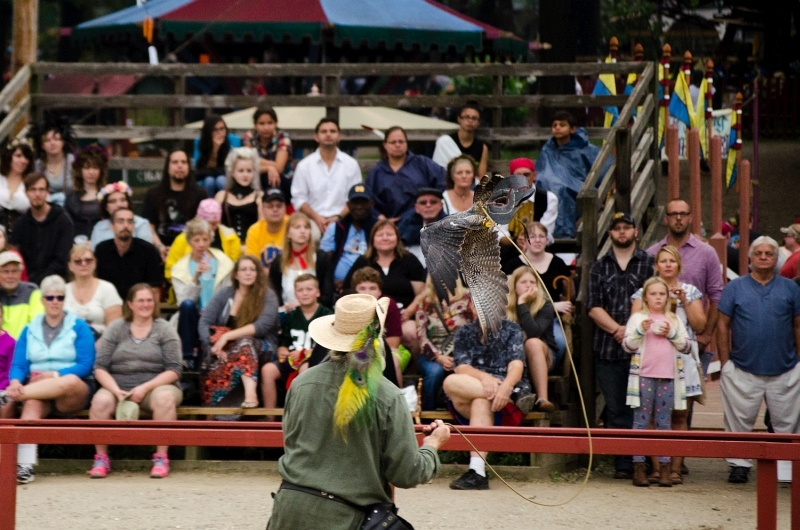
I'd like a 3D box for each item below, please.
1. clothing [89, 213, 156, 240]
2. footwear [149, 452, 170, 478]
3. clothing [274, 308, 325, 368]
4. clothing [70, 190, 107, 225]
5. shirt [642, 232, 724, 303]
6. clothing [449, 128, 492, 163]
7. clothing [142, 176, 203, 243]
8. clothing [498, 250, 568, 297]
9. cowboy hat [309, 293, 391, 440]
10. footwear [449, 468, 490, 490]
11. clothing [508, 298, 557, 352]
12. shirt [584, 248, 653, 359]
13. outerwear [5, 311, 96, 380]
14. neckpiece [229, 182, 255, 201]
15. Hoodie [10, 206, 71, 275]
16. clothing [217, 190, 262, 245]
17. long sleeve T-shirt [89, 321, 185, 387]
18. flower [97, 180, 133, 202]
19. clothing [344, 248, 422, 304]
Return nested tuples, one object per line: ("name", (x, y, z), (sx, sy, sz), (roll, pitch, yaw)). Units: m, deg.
("clothing", (-3.641, -0.650, 26.976), (0.680, 0.517, 0.346), (-2, -21, -9))
("footwear", (-2.976, 2.560, 25.728), (0.276, 0.308, 0.731), (1, -3, -6))
("clothing", (-1.110, 0.892, 26.023), (0.876, 0.785, 0.487), (-3, 2, 26))
("clothing", (-4.126, -0.761, 27.423), (0.598, 0.538, 0.325), (-1, -9, -9))
("shirt", (3.554, 0.057, 26.065), (0.796, 0.744, 0.262), (14, 1, 19))
("clothing", (0.989, -1.650, 28.472), (0.681, 0.632, 0.353), (-1, 2, -14))
("clothing", (-2.968, -0.751, 27.480), (0.874, 0.828, 0.454), (-1, 8, -2))
("clothing", (1.701, 0.149, 26.675), (0.975, 0.883, 0.530), (-2, -3, -9))
("cowboy hat", (-0.464, 1.043, 22.434), (0.856, 1.462, 0.907), (1, 33, 7))
("footwear", (0.895, 2.719, 25.452), (0.525, 0.246, 0.212), (3, -3, -10))
("clothing", (1.746, 0.751, 25.931), (0.609, 0.641, 0.499), (-4, -9, -15))
("shirt", (2.845, 0.470, 26.077), (0.937, 1.444, 0.421), (-1, -7, 5))
("outerwear", (-4.321, 1.044, 25.871), (1.050, 1.028, 0.686), (-3, -11, 4))
("neckpiece", (-2.131, -1.023, 27.594), (0.226, 0.170, 0.291), (-4, -3, -20))
("Hoodie", (-4.669, -0.237, 26.832), (0.769, 1.076, 0.720), (2, 21, -16))
("clothing", (-2.112, -0.702, 27.586), (0.541, 0.690, 0.407), (0, 10, 2))
("long sleeve T-shirt", (-3.196, 1.131, 26.000), (1.131, 1.024, 0.627), (1, 1, 20))
("flower", (-3.752, -1.011, 27.032), (0.305, 0.136, 0.277), (-23, -7, 38))
("clothing", (-0.092, 0.139, 26.383), (1.179, 0.783, 0.623), (0, -10, 1))
